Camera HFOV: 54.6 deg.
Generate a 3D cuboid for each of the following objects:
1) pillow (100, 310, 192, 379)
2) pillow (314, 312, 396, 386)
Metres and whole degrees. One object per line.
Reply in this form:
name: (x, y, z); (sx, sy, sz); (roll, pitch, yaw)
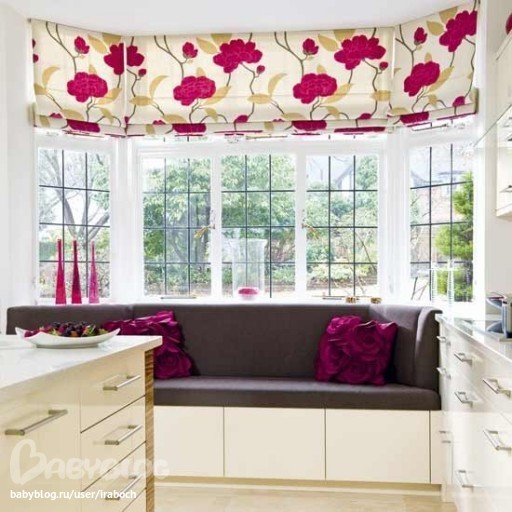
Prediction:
pillow: (-0.600, 0.535, 3.044); (0.402, 0.470, 0.151); (6, -28, -41)
pillow: (0.546, 0.555, 2.824); (0.369, 0.374, 0.136); (3, -16, 34)
